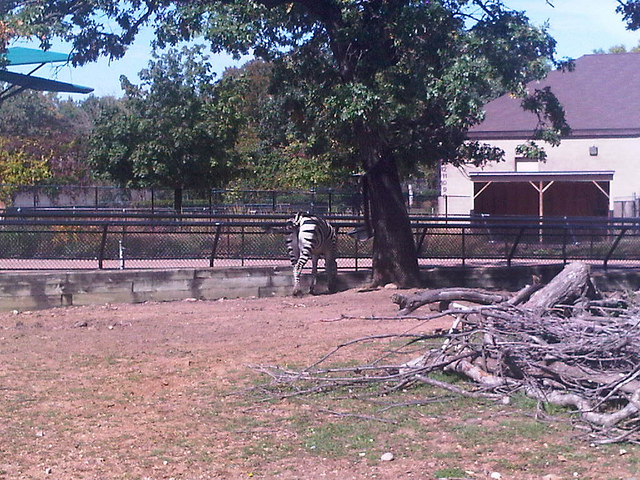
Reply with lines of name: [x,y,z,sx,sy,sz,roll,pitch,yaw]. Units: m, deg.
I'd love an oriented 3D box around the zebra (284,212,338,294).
zebra: [-0.210,0.327,32.897,1.339,2.135,0.801,0,1,-11]

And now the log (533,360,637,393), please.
log: [5.454,2.737,25.156,2.075,0.322,0.362,10,13,30]
